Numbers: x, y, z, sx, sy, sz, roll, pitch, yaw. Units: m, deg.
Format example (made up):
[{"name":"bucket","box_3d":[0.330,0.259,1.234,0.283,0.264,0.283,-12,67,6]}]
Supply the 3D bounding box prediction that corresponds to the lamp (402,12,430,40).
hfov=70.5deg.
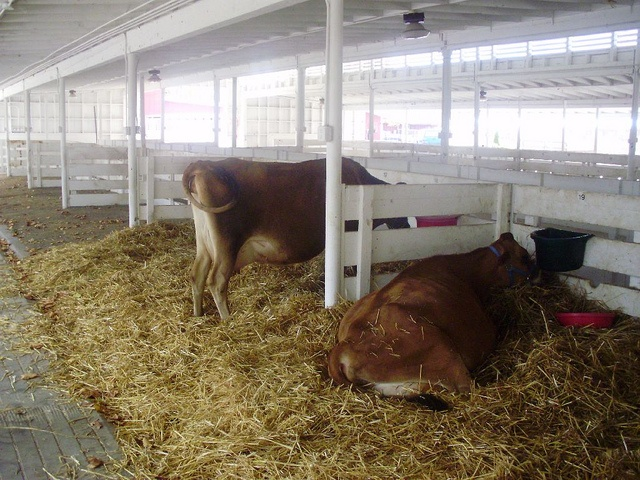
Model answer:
[{"name":"lamp","box_3d":[1.278,-2.894,6.076,0.321,0.399,0.429,1,9,9]}]

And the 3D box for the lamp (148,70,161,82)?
[{"name":"lamp","box_3d":[-4.058,-4.074,11.170,0.233,0.376,0.671,-4,10,-21]}]

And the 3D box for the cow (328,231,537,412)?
[{"name":"cow","box_3d":[0.831,0.550,2.977,1.425,0.662,0.677,-31,37,-26]}]

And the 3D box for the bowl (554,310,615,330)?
[{"name":"bowl","box_3d":[1.899,0.564,3.235,0.378,0.118,0.172,0,9,5]}]
